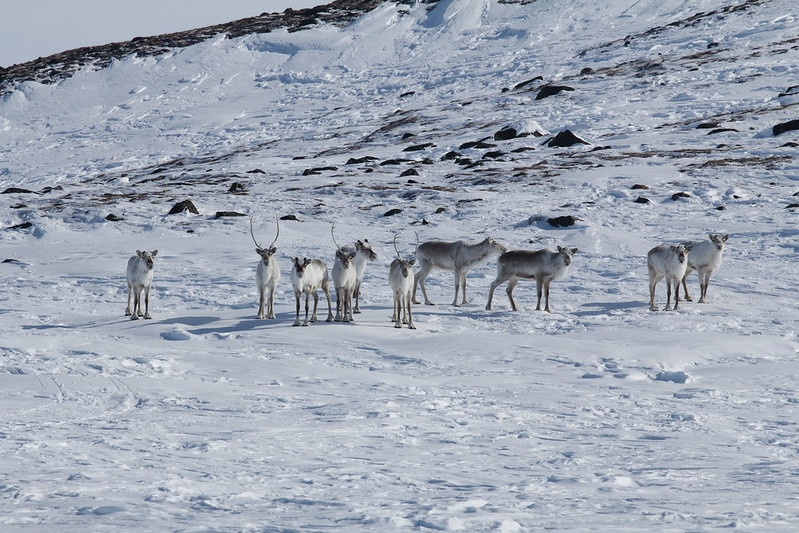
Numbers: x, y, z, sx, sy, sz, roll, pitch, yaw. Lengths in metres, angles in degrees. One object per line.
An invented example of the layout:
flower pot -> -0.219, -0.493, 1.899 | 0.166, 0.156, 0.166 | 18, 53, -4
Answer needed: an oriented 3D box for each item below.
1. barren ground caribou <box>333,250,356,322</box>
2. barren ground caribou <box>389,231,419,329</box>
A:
barren ground caribou -> -2.892, 1.032, 66.965 | 1.175, 3.713, 1.514 | 3, -5, -3
barren ground caribou -> 0.180, 1.405, 67.002 | 1.383, 3.702, 1.300 | 3, -5, 1
